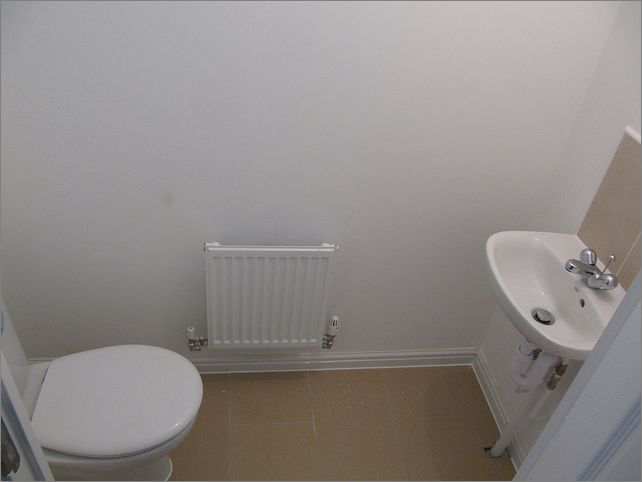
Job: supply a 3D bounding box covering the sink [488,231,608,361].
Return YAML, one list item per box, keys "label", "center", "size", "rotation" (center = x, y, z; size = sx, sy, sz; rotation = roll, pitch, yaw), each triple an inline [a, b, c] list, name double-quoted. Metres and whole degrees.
- label: "sink"
  center: [0.829, 0.195, 1.699]
  size: [0.443, 0.219, 0.528]
  rotation: [3, 30, -6]

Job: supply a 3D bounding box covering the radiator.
- label: "radiator"
  center: [-0.270, 0.232, 2.064]
  size: [0.469, 0.447, 0.061]
  rotation: [0, 32, -7]
